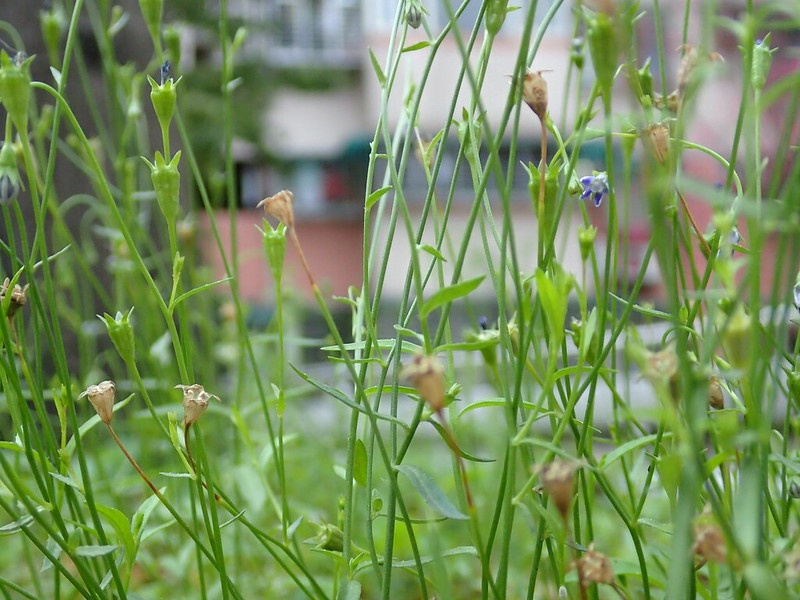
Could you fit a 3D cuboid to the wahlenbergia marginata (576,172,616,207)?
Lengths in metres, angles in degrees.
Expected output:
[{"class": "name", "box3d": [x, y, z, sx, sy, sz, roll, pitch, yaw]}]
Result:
[{"class": "wahlenbergia marginata", "box3d": [0.259, -0.153, 1.415, 0.036, 0.026, 0.057, 6, 58, -8]}]
